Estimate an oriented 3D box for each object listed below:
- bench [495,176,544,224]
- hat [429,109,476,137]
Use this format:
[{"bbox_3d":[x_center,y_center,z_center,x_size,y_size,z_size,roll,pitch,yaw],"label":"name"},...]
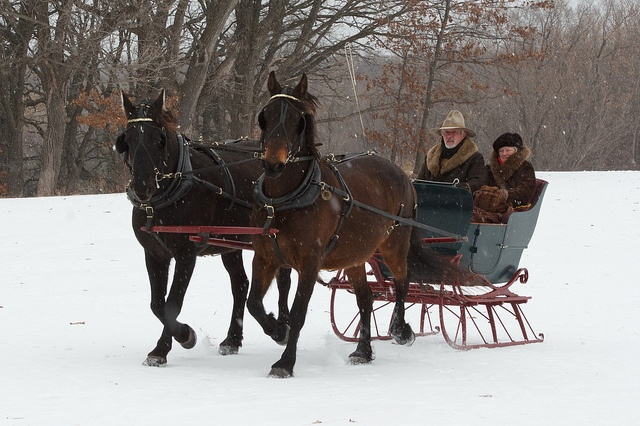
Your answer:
[{"bbox_3d":[3.842,-0.239,16.260,0.939,0.886,0.659,9,-17,-4],"label":"bench"},{"bbox_3d":[2.535,-1.790,17.135,0.891,0.339,0.644,-2,12,-12],"label":"hat"}]
